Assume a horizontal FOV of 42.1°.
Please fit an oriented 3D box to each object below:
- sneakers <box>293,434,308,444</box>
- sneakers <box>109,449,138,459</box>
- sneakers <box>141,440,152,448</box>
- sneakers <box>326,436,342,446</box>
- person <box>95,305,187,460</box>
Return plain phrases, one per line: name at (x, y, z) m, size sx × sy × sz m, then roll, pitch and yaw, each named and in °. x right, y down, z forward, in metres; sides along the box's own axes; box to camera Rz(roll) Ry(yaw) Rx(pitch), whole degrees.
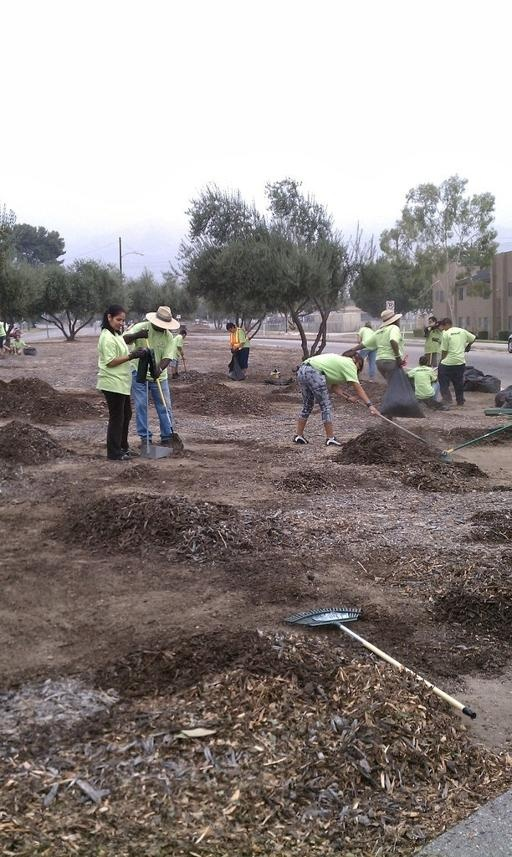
sneakers at (0.587, 0.136, 8.718) m, size 0.188 × 0.117 × 0.300 m, roll 0°, pitch 10°, yaw 2°
sneakers at (-1.433, 0.295, 7.247) m, size 0.331 × 0.090 × 0.122 m, roll -7°, pitch 12°, yaw -32°
sneakers at (-1.264, 0.169, 7.725) m, size 0.089 × 0.139 × 0.126 m, roll -6°, pitch 8°, yaw -32°
sneakers at (0.975, 0.164, 8.421) m, size 0.217 × 0.134 × 0.081 m, roll 3°, pitch 6°, yaw -6°
person at (-1.304, -0.556, 7.581) m, size 0.797 × 1.669 × 1.247 m, roll -1°, pitch 10°, yaw 1°
